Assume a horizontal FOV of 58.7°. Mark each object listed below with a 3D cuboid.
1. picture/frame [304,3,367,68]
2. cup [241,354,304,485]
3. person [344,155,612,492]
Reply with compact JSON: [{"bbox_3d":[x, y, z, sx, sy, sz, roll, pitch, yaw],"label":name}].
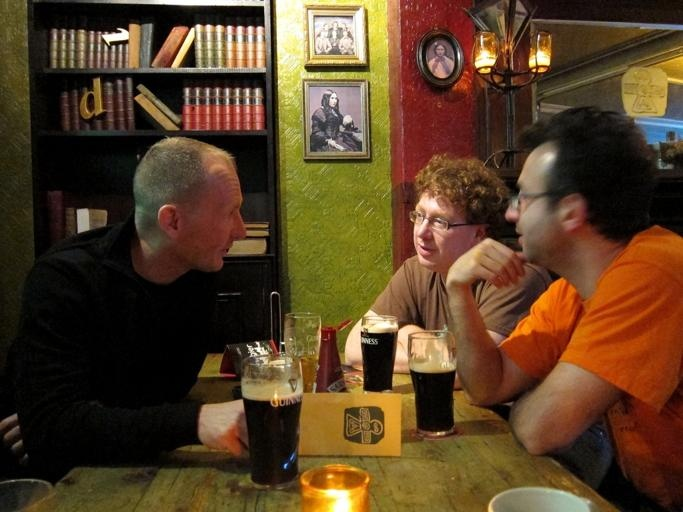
[{"bbox_3d":[-0.055,-1.549,4.244,0.457,0.450,0.060,-2,6,-10],"label":"picture/frame"},{"bbox_3d":[-0.166,0.401,1.466,0.141,0.280,0.092,-2,6,-10],"label":"cup"},{"bbox_3d":[0.740,0.100,2.682,1.127,1.550,0.926,6,-10,-20],"label":"person"}]
